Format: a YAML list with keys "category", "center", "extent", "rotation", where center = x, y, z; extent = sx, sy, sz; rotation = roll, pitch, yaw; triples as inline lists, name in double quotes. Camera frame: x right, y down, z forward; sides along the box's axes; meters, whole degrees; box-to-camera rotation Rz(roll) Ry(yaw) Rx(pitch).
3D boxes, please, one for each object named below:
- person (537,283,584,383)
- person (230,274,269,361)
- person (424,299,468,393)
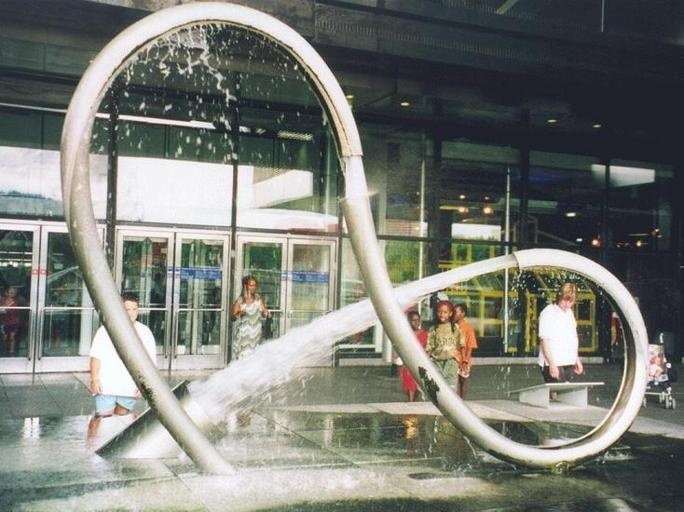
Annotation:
- category: "person"
  center: [3.610, 1.308, 13.177]
  extent: [0.729, 1.688, 0.343]
  rotation: [2, 7, -13]
- category: "person"
  center: [-1.616, 1.087, 13.593]
  extent: [0.525, 1.423, 0.739]
  rotation: [10, 10, 44]
- category: "person"
  center: [1.719, 1.552, 13.363]
  extent: [0.615, 1.564, 0.790]
  rotation: [5, 7, 12]
